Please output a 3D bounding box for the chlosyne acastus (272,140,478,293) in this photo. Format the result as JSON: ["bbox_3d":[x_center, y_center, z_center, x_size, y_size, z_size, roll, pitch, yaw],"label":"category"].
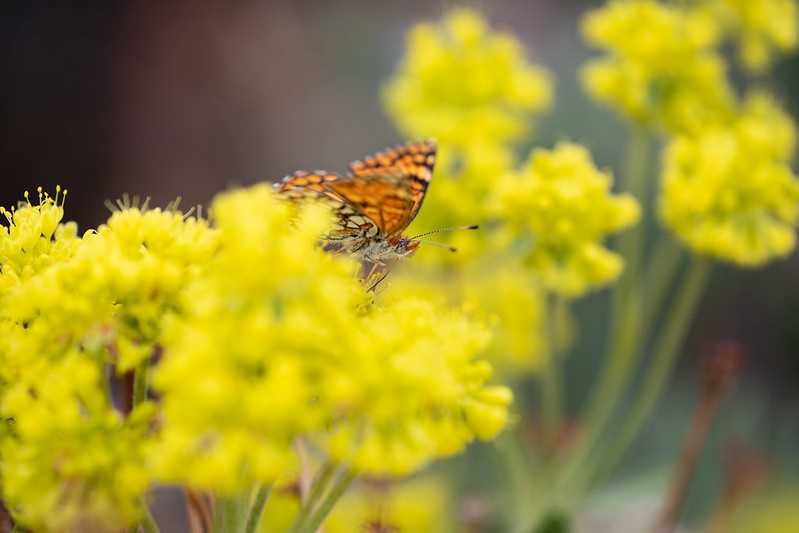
[{"bbox_3d":[-0.037,-0.030,0.920,0.133,0.112,0.147,12,-10,1],"label":"chlosyne acastus"}]
